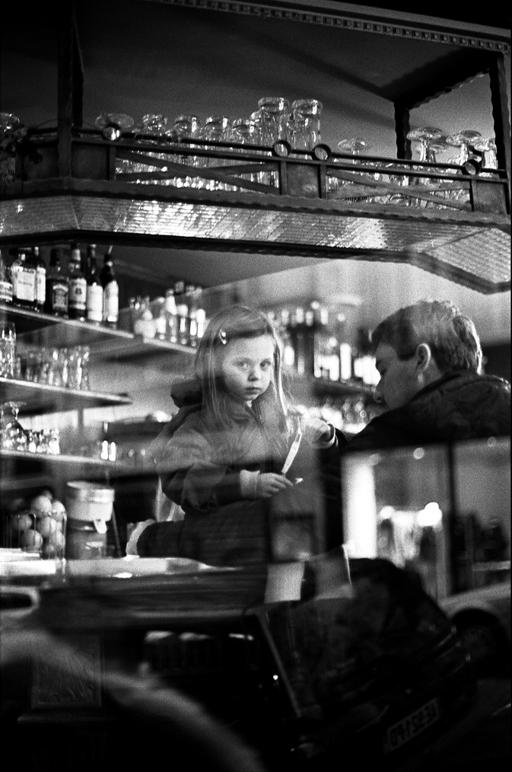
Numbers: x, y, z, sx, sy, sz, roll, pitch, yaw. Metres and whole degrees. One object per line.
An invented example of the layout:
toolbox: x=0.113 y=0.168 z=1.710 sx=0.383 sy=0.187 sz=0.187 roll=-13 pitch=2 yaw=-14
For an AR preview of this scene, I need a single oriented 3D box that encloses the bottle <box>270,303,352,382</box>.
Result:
bottle: x=0.148 y=-0.107 z=2.184 sx=0.139 sy=0.236 sz=0.070 roll=-1 pitch=1 yaw=-11
